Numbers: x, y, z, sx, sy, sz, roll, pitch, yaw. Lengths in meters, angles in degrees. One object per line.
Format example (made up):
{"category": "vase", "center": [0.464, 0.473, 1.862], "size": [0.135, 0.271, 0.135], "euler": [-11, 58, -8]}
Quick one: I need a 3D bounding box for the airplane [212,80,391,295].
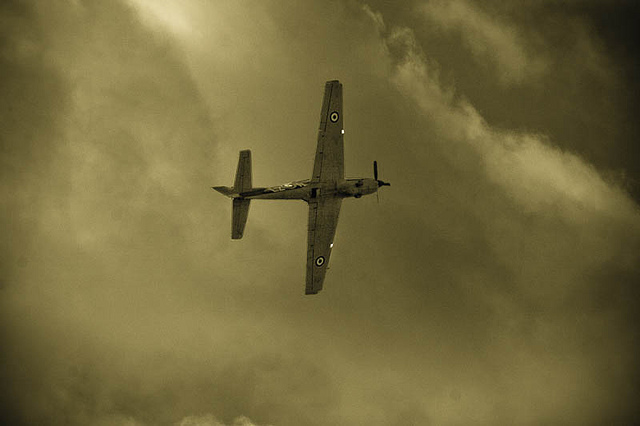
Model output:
{"category": "airplane", "center": [-0.554, -0.643, 29.010], "size": [4.746, 6.501, 1.565], "euler": [-6, -25, 23]}
